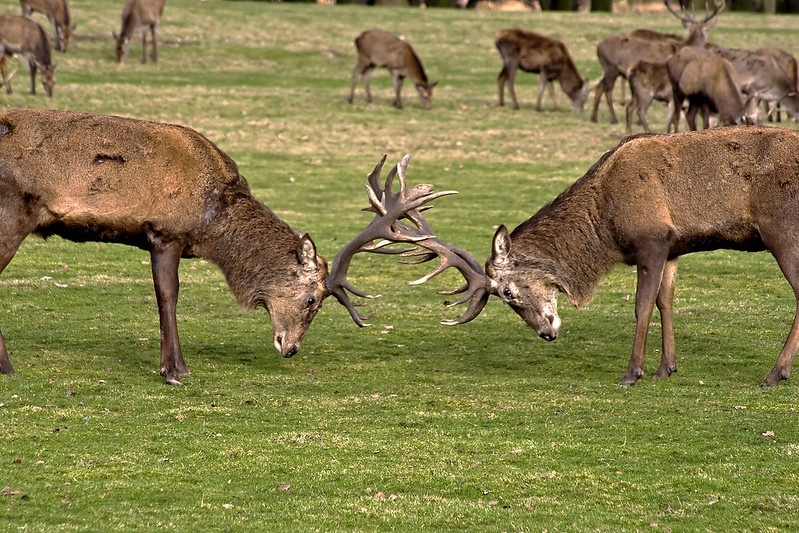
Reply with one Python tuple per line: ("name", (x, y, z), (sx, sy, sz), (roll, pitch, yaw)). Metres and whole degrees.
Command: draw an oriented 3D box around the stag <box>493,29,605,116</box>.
("stag", (3.634, -5.081, 43.441), (2.323, 2.041, 1.725), (1, 11, 3))
